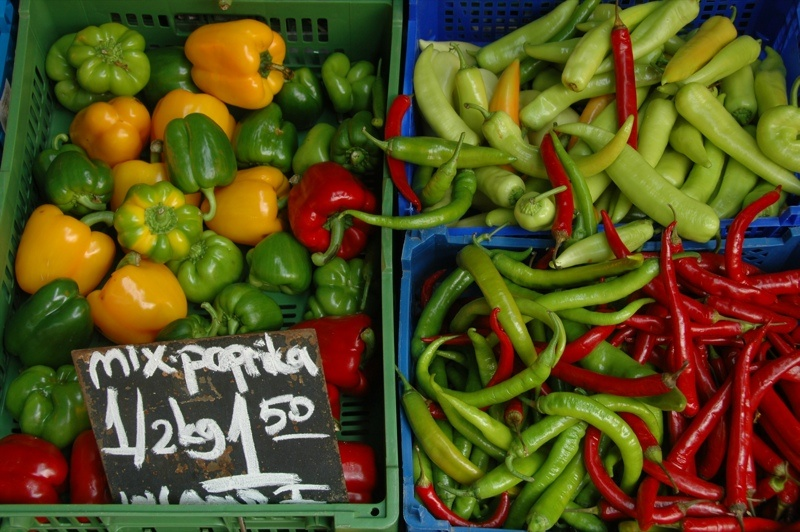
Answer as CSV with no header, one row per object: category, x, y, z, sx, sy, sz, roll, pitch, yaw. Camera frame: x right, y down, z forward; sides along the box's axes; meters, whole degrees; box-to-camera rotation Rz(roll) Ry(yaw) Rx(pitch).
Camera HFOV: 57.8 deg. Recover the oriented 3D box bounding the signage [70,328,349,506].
signage,-0.959,0.813,3.768,1.173,1.354,0.053,-3,38,-8
